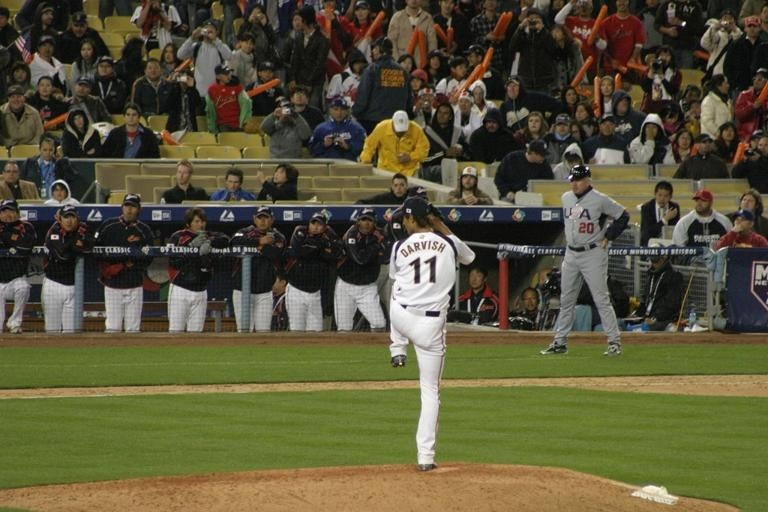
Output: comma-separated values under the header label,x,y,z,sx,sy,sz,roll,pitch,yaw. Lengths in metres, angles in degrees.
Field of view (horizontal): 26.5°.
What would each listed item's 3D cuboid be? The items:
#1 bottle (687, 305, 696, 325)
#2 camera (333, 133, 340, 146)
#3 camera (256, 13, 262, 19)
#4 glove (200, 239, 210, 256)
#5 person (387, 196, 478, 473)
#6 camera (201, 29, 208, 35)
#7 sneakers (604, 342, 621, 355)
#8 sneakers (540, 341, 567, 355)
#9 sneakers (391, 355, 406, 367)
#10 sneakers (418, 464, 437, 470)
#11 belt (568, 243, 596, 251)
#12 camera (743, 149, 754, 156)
label,x,y,z,sx,sy,sz,roll,pitch,yaw
bottle,6.079,1.168,32.470,0.119,0.347,0.210,5,-5,-40
camera,-0.976,-2.496,34.883,0.139,0.189,0.068,1,1,-19
camera,-2.724,-5.334,36.386,0.076,0.110,0.033,24,2,23
glove,-3.427,-0.182,31.881,0.227,0.285,0.075,4,-4,-22
person,0.622,1.180,25.277,1.109,4.195,0.467,2,-4,0
camera,-3.856,-4.883,35.607,0.141,0.135,0.105,3,24,2
sneakers,4.220,1.715,30.402,0.287,0.251,0.342,2,-4,6
sneakers,3.106,1.716,30.602,0.557,0.254,0.199,-1,6,-3
sneakers,0.245,1.613,25.303,0.191,0.147,0.162,2,-5,-31
sneakers,0.644,3.207,25.009,0.223,0.106,0.096,-4,8,-43
belt,3.616,-0.169,29.966,0.493,0.157,0.112,1,-4,12
camera,7.792,-2.247,35.111,0.127,0.163,0.069,24,17,0
